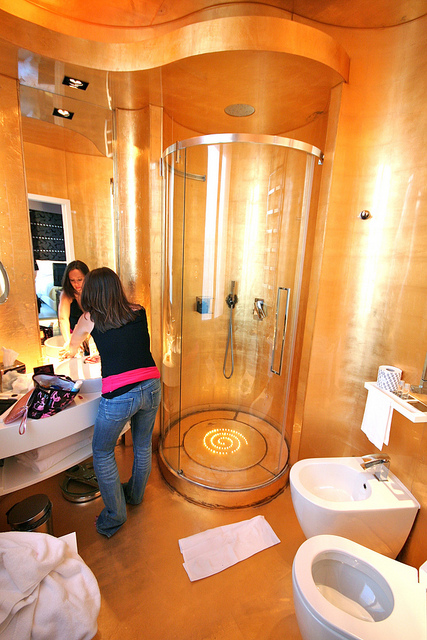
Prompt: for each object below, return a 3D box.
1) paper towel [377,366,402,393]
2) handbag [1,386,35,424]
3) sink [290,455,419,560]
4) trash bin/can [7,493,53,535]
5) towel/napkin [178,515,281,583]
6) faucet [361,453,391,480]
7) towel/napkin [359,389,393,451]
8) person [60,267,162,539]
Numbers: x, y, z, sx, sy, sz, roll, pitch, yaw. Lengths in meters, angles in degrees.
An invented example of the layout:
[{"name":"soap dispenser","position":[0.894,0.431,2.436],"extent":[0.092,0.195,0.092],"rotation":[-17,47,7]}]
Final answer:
[{"name":"paper towel","position":[0.842,0.286,1.989],"extent":[0.103,0.124,0.110],"rotation":[11,14,31]},{"name":"handbag","position":[-0.803,0.367,1.747],"extent":[0.035,0.150,0.085],"rotation":[38,-18,-31]},{"name":"sink","position":[0.632,0.812,1.978],"extent":[0.449,0.334,0.387],"rotation":[-3,23,-12]},{"name":"trash bin/can","position":[-0.802,0.852,1.853],"extent":[0.179,0.188,0.155],"rotation":[-4,31,-34]},{"name":"towel/napkin","position":[0.078,1.130,2.065],"extent":[0.369,0.060,0.194],"rotation":[-7,30,-33]},{"name":"faucet","position":[0.804,0.722,2.078],"extent":[0.123,0.125,0.091],"rotation":[-6,21,2]},{"name":"towel/napkin","position":[0.822,0.550,2.035],"extent":[0.033,0.309,0.249],"rotation":[-3,3,44]},{"name":"person","position":[-0.463,0.412,2.056],"extent":[0.401,1.331,0.310],"rotation":[-3,16,-19]}]
